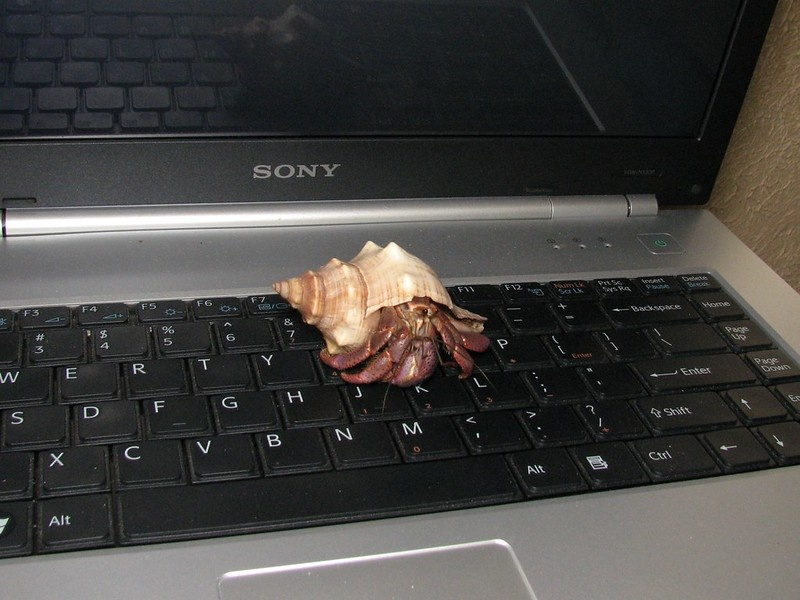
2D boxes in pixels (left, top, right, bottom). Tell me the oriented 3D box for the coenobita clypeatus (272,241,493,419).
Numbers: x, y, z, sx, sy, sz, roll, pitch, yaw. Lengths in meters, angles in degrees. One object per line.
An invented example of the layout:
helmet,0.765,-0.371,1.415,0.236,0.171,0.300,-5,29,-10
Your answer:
coenobita clypeatus,-0.026,0.046,0.712,0.229,0.104,0.146,15,46,7
